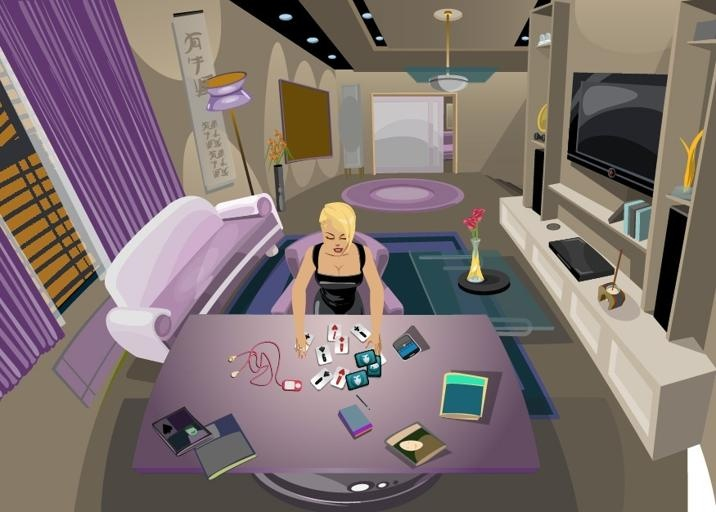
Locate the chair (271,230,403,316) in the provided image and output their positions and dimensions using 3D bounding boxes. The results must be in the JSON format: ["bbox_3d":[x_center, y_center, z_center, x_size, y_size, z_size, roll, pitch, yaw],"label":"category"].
[{"bbox_3d":[-0.169,0.145,3.554,0.775,0.959,0.865,-1,16,-1],"label":"chair"}]

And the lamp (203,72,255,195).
[{"bbox_3d":[-1.604,-1.499,5.368,0.503,1.727,0.931,-10,33,-12],"label":"lamp"}]
